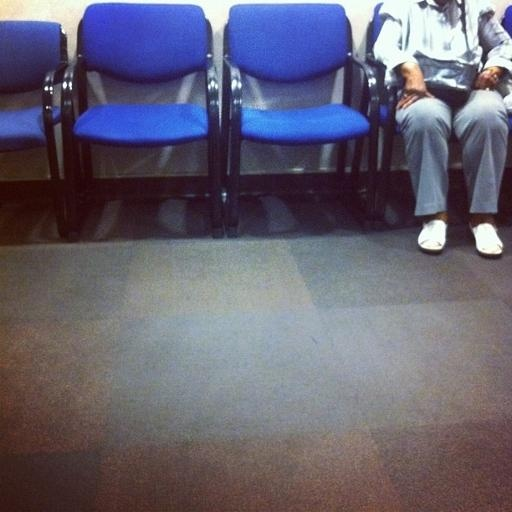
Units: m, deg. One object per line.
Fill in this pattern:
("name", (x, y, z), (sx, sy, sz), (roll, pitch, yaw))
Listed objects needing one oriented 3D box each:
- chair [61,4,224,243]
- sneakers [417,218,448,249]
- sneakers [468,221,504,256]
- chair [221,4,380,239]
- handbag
("chair", (-0.516, -0.619, 2.165), (0.651, 1.090, 0.671), (0, 33, -5))
("sneakers", (0.717, -0.078, 1.951), (0.063, 0.074, 0.190), (0, 27, 13))
("sneakers", (0.926, -0.071, 1.924), (0.066, 0.059, 0.209), (-7, 33, 9))
("chair", (0.209, -0.654, 2.253), (0.618, 1.053, 0.672), (-3, 39, -2))
("handbag", (0.795, -0.746, 2.007), (0.192, 0.249, 0.077), (8, 2, 25))
